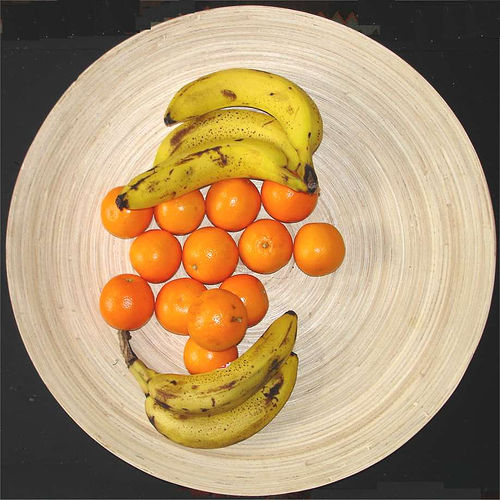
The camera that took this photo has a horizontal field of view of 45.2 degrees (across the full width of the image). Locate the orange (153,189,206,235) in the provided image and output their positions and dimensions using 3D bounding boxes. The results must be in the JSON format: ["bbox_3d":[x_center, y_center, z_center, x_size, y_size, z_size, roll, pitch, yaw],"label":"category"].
[{"bbox_3d":[-0.142,-0.075,1.216,0.083,0.086,0.093,-1,60,-7],"label":"orange"}]

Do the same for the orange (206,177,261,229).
[{"bbox_3d":[-0.035,-0.093,1.202,0.092,0.098,0.102,11,116,-11],"label":"orange"}]

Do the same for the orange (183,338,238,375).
[{"bbox_3d":[-0.079,0.210,1.202,0.084,0.080,0.093,7,78,-35],"label":"orange"}]

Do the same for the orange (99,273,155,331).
[{"bbox_3d":[-0.256,0.108,1.243,0.119,0.127,0.130,8,95,-9],"label":"orange"}]

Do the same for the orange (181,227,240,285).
[{"bbox_3d":[-0.079,0.006,1.244,0.104,0.105,0.113,-29,77,-19],"label":"orange"}]

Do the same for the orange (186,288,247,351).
[{"bbox_3d":[-0.083,0.131,1.162,0.090,0.100,0.120,-7,89,-13],"label":"orange"}]

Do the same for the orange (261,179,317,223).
[{"bbox_3d":[0.081,-0.081,1.200,0.081,0.083,0.091,10,66,-7],"label":"orange"}]

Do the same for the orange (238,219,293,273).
[{"bbox_3d":[0.029,-0.011,1.194,0.093,0.097,0.107,3,84,1],"label":"orange"}]

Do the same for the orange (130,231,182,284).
[{"bbox_3d":[-0.196,0.015,1.254,0.116,0.121,0.129,3,100,-2],"label":"orange"}]

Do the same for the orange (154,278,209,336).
[{"bbox_3d":[-0.139,0.110,1.246,0.098,0.055,0.110,-23,86,4],"label":"orange"}]

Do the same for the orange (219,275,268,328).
[{"bbox_3d":[-0.014,0.087,1.241,0.093,0.095,0.105,-3,106,-16],"label":"orange"}]

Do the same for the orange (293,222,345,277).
[{"bbox_3d":[0.141,-0.003,1.249,0.094,0.098,0.104,5,81,-1],"label":"orange"}]

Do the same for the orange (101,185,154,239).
[{"bbox_3d":[-0.273,-0.076,1.261,0.141,0.149,0.088,-1,73,-17],"label":"orange"}]
